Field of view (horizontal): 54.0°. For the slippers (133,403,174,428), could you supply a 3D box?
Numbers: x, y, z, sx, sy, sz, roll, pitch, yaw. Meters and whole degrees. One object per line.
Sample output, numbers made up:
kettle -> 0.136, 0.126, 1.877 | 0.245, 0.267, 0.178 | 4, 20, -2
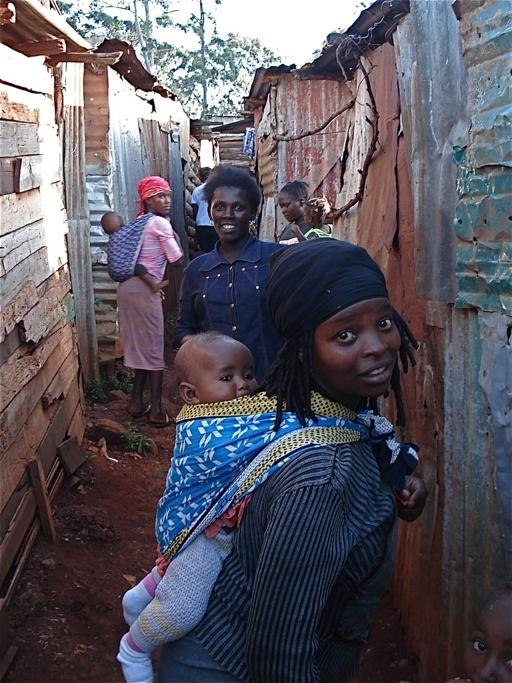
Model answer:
slippers -> -1.153, 0.832, 5.581 | 0.489, 0.213, 0.195 | 2, 12, 2
